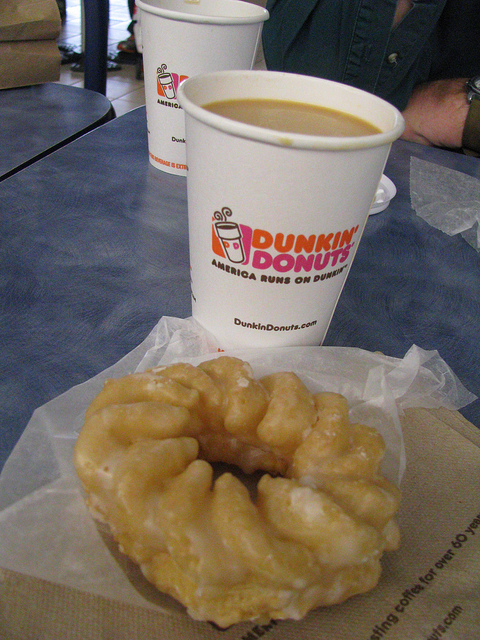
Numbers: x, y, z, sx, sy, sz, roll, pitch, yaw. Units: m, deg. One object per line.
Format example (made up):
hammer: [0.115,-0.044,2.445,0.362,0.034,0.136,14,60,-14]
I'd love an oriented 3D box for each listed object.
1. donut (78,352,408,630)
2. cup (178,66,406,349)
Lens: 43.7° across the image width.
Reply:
donut: [0.009,0.118,0.518,0.282,0.098,0.261,-6,38,-17]
cup: [0.040,-0.101,0.608,0.196,0.249,0.204,4,37,-3]
